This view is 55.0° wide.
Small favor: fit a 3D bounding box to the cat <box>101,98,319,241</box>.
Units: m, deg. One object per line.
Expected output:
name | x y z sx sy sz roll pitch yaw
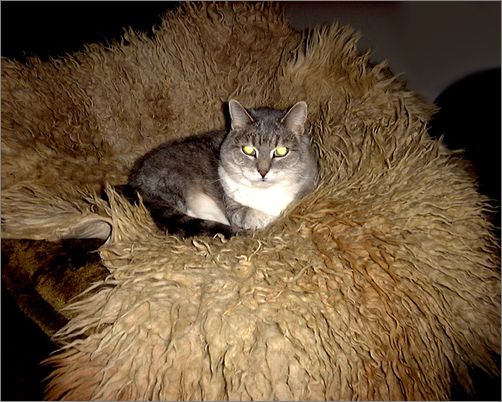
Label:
cat | -0.175 -0.188 2.102 0.989 0.441 0.724 10 32 34
